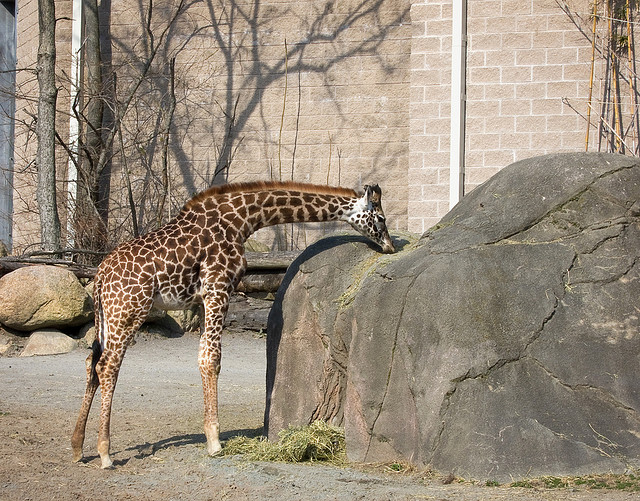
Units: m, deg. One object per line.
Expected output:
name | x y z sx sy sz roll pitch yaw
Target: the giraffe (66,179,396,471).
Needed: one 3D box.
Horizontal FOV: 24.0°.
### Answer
giraffe | -1.088 0.809 18.639 4.073 3.403 1.091 -3 1 -10
